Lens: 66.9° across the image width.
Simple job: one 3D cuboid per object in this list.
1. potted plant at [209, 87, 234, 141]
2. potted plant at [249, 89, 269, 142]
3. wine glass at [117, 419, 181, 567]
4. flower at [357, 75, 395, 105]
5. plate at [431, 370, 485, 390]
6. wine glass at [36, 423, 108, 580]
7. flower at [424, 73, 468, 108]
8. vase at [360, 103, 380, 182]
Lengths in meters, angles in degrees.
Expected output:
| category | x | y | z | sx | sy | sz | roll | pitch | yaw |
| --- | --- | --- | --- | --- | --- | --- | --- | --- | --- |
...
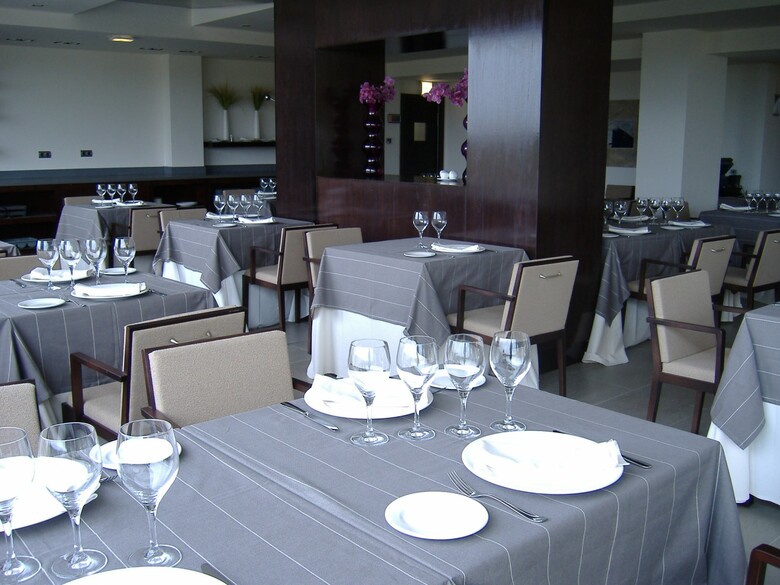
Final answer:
| category | x | y | z | sx | sy | sz | roll | pitch | yaw |
| --- | --- | --- | --- | --- | --- | --- | --- | --- | --- |
| potted plant | -3.258 | -3.567 | 11.713 | 0.540 | 1.019 | 0.201 | -8 | 15 | -29 |
| potted plant | -2.627 | -3.687 | 12.161 | 0.183 | 0.997 | 0.413 | 12 | 18 | 42 |
| wine glass | -0.438 | 0.345 | 1.087 | 0.101 | 0.221 | 0.244 | -6 | 15 | -22 |
| flower | -0.152 | -2.095 | 6.179 | 0.336 | 0.292 | 0.331 | -5 | 21 | -15 |
| plate | 0.182 | 0.237 | 1.607 | 0.081 | 0.010 | 0.085 | 4 | 13 | 31 |
| wine glass | -0.576 | 0.383 | 1.066 | 0.117 | 0.319 | 0.127 | -8 | 18 | -29 |
| flower | 0.515 | -1.826 | 5.381 | 0.296 | 0.216 | 0.486 | -1 | 14 | -4 |
| vase | -0.186 | -1.646 | 6.391 | 0.223 | 0.770 | 0.548 | -1 | 13 | -2 |
